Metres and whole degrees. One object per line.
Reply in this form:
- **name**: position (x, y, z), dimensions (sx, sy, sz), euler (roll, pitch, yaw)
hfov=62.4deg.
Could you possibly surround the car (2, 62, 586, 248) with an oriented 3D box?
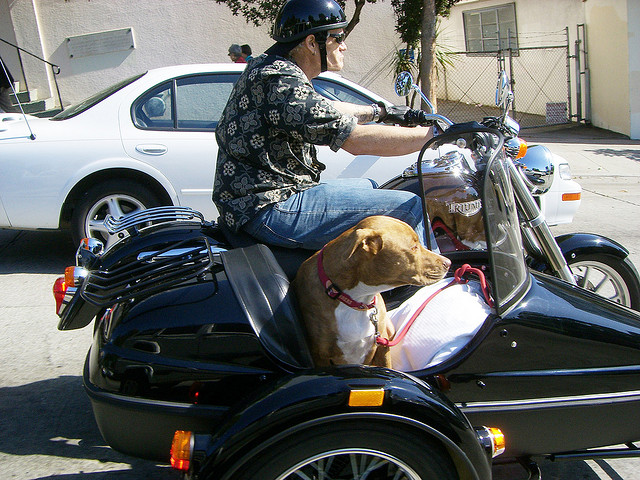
- **car**: position (-0.679, -1.150, 6.201), dimensions (5.699, 1.436, 2.231), euler (-4, 15, -5)

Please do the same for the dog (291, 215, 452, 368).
- **dog**: position (0.225, 0.253, 2.462), dimensions (0.628, 0.525, 0.742), euler (31, 17, 21)
